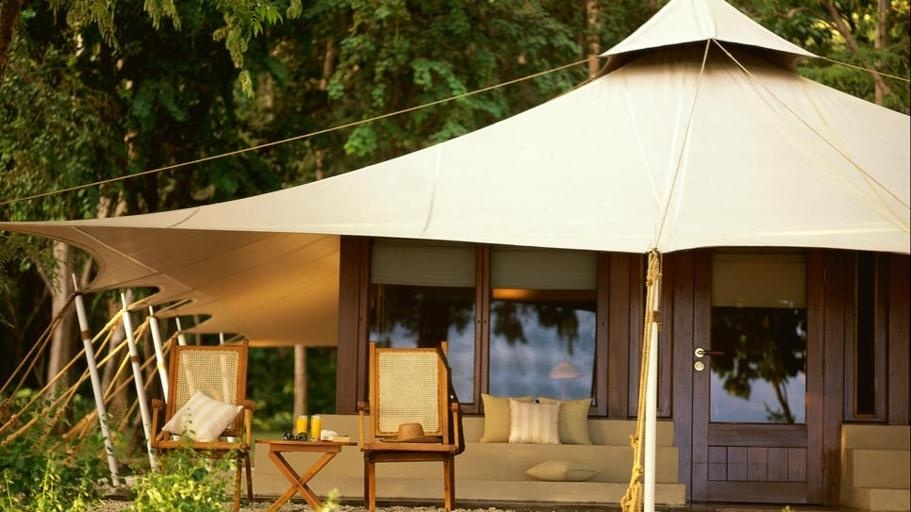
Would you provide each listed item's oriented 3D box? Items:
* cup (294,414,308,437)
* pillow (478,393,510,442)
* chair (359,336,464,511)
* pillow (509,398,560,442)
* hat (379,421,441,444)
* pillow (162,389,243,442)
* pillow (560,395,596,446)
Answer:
[{"bbox_3d":[-2.212,2.379,25.778,0.202,0.391,0.220,2,-5,0],"label":"cup"},{"bbox_3d":[0.595,2.356,26.591,0.221,0.673,0.607,-5,-6,40],"label":"pillow"},{"bbox_3d":[-0.653,2.423,25.688,1.467,2.329,0.989,0,-9,-3],"label":"chair"},{"bbox_3d":[1.107,2.412,26.507,0.560,0.620,0.177,6,-11,0],"label":"pillow"},{"bbox_3d":[-0.624,2.451,25.476,0.832,0.311,0.378,0,-10,-4],"label":"hat"},{"bbox_3d":[-3.526,2.138,26.062,0.793,0.769,0.232,-40,-10,26],"label":"pillow"},{"bbox_3d":[1.736,2.346,26.274,0.495,0.588,0.219,1,-15,-6],"label":"pillow"}]
